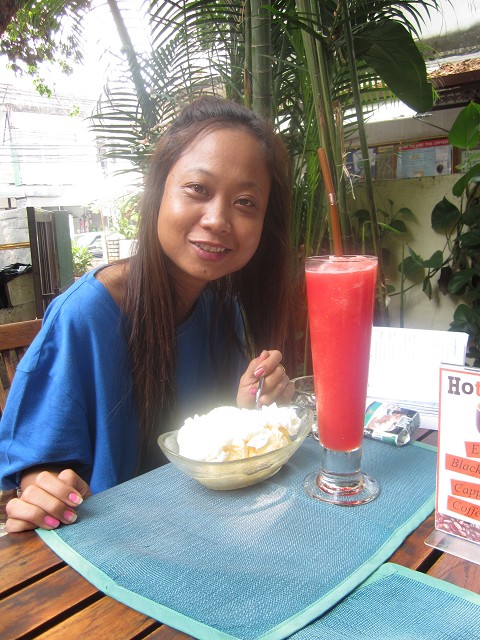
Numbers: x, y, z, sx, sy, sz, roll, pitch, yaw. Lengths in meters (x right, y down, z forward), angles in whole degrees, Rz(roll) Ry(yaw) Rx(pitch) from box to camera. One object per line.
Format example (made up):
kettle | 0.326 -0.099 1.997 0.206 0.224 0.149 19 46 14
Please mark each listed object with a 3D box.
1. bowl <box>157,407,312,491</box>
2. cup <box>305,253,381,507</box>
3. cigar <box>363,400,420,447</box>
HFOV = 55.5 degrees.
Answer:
bowl | -0.007 0.186 0.689 0.174 0.109 0.155 3 9 42
cup | 0.133 0.072 0.651 0.088 0.359 0.099 -2 10 -16
cigar | 0.274 0.188 0.831 0.068 0.019 0.070 5 21 28
